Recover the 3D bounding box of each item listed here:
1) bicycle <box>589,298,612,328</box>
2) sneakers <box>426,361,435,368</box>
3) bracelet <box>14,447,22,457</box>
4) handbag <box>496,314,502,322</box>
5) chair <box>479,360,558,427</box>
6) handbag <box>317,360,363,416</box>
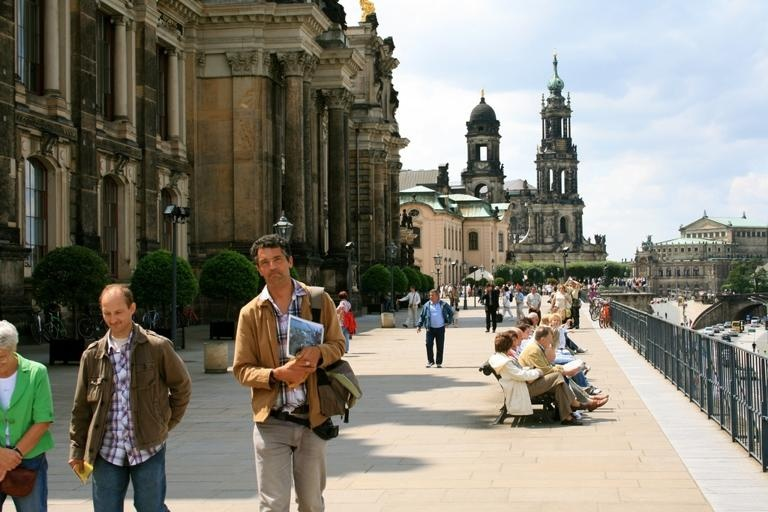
[{"bbox_3d":[9.150,2.363,47.436,0.886,1.002,1.767,-1,-4,15],"label":"bicycle"},{"bbox_3d":[1.211,2.744,28.418,0.140,0.156,0.406,3,3,-6],"label":"sneakers"},{"bbox_3d":[-4.416,2.356,13.504,0.047,0.101,0.086,-45,8,-19],"label":"bracelet"},{"bbox_3d":[4.497,2.364,42.828,0.306,0.395,0.407,-1,-2,7],"label":"handbag"},{"bbox_3d":[2.588,2.454,20.676,1.108,1.104,1.322,-4,-2,4],"label":"chair"},{"bbox_3d":[-0.570,1.657,13.849,0.413,0.711,0.624,-44,-8,-10],"label":"handbag"}]
